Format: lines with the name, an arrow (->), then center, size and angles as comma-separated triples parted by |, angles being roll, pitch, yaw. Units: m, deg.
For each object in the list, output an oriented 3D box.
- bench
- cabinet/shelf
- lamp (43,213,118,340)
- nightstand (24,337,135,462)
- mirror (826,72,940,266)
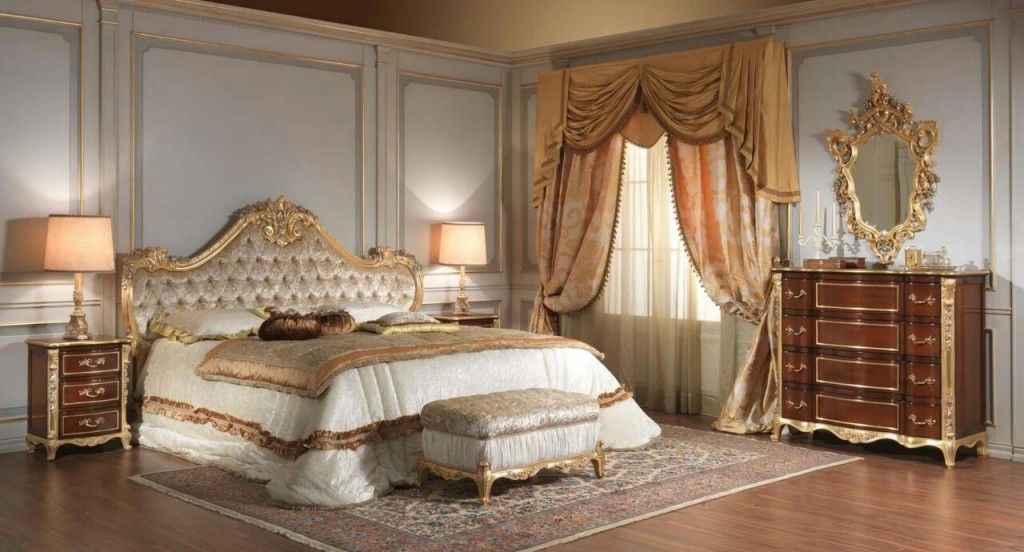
bench -> -0.203, 1.214, 5.749 | 1.321, 0.557, 0.959 | -1, -2, -38
cabinet/shelf -> 3.738, 0.895, 6.609 | 2.154, 1.750, 1.032 | 0, -1, 37
lamp -> -4.366, -0.001, 6.716 | 0.524, 1.219, 0.534 | 7, 11, 40
nightstand -> -4.347, 1.186, 6.650 | 1.013, 1.145, 0.521 | -3, 9, -21
mirror -> 3.934, -1.117, 7.050 | 1.026, 1.968, 0.279 | 4, 9, 25
